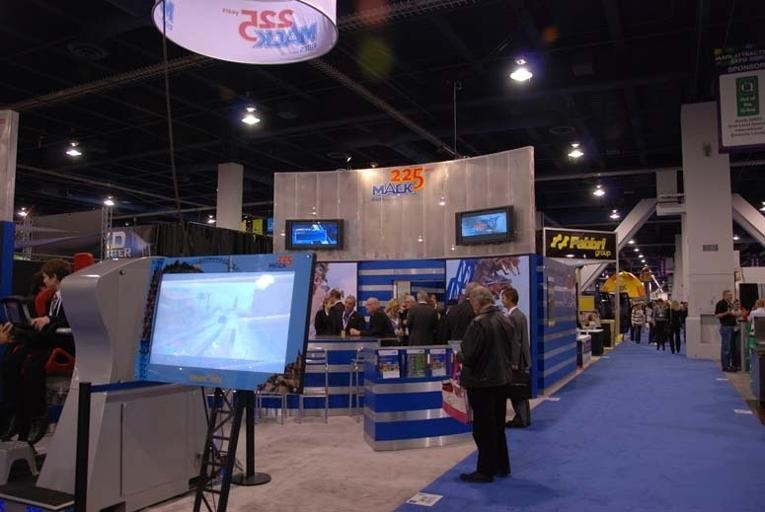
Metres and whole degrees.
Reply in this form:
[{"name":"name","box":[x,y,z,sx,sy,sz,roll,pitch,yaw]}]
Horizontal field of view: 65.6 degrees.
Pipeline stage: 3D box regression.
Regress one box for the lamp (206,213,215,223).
[{"name":"lamp","box":[-7.003,-1.473,24.186,0.295,0.330,1.366,0,1,-17]}]

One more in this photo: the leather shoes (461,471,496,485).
[{"name":"leather shoes","box":[1.054,2.477,6.674,0.346,0.149,0.139,3,-14,10]}]

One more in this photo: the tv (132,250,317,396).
[{"name":"tv","box":[-1.299,0.526,4.943,1.498,1.076,0.254,0,1,18]}]

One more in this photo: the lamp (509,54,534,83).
[{"name":"lamp","box":[2.502,-3.419,10.780,0.444,0.478,0.588,1,28,21]}]

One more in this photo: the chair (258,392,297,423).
[{"name":"chair","box":[-1.677,2.315,9.166,0.675,0.363,0.340,0,1,23]}]

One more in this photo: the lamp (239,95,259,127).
[{"name":"lamp","box":[-2.878,-3.100,12.708,0.456,0.533,0.477,1,0,17]}]

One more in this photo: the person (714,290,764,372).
[{"name":"person","box":[7.467,1.603,12.879,0.481,1.692,0.917,0,1,30]}]

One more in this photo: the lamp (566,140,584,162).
[{"name":"lamp","box":[4.805,-2.613,14.926,0.574,0.552,0.598,6,15,27]}]

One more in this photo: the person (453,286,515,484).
[{"name":"person","box":[1.161,1.457,6.773,0.587,2.172,0.414,0,1,10]}]

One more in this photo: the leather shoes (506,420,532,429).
[{"name":"leather shoes","box":[1.966,2.430,8.601,0.370,0.168,0.118,-6,-7,7]}]
